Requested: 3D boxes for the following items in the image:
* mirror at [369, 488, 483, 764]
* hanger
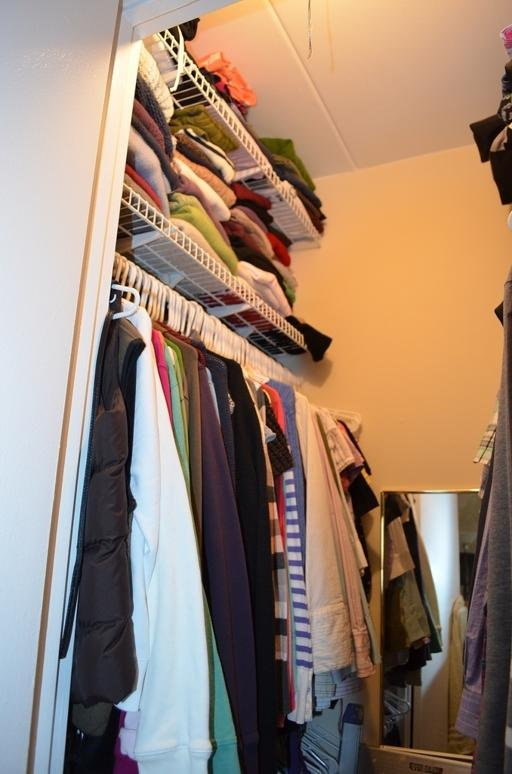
[{"bbox_3d":[0.478,0.659,1.780,0.284,0.727,0.061,-13,-21,32],"label":"mirror"},{"bbox_3d":[-0.106,-0.155,1.390,0.072,0.116,0.714,-31,-40,10],"label":"hanger"}]
